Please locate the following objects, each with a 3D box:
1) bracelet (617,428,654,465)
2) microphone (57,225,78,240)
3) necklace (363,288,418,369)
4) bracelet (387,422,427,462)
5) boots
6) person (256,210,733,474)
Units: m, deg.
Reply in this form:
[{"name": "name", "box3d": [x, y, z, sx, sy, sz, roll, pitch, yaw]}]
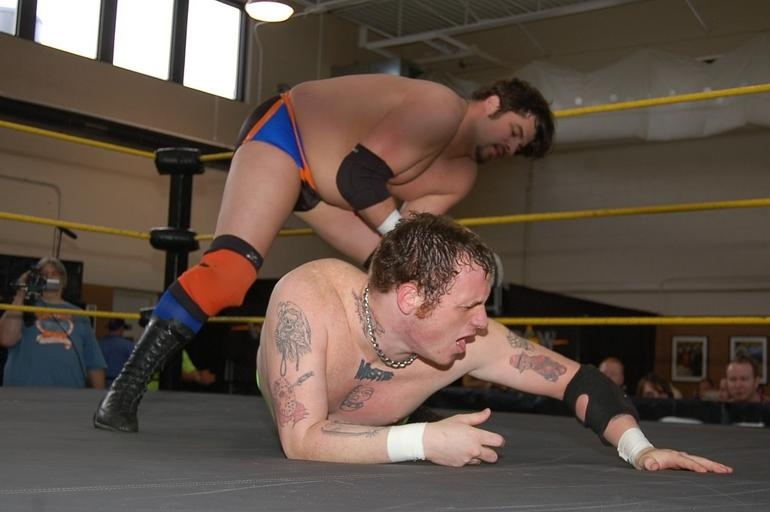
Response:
[{"name": "bracelet", "box3d": [0.829, 0.632, 2.425, 0.087, 0.056, 0.134, -31, 19, -14]}, {"name": "microphone", "box3d": [-3.174, -0.218, 7.263, 0.155, 0.132, 1.263, 7, -3, -23]}, {"name": "necklace", "box3d": [0.023, 0.249, 2.526, 0.058, 0.269, 0.214, -31, 47, -35]}, {"name": "bracelet", "box3d": [0.065, 0.607, 2.327, 0.131, 0.094, 0.107, -1, -5, 16]}, {"name": "boots", "box3d": [-0.883, 0.435, 2.643, 0.310, 0.411, 0.124, 7, -2, -17]}, {"name": "person", "box3d": [0.321, 0.329, 2.415, 1.367, 0.709, 0.862, 8, 18, 26]}]
